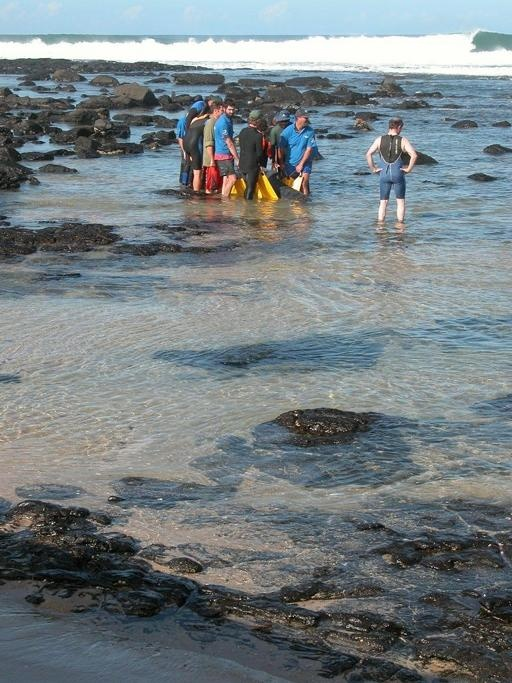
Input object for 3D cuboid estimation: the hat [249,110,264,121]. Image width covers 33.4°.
[{"bbox_3d":[-0.027,-4.115,15.546,0.193,0.203,0.380,-2,10,-6],"label":"hat"}]
